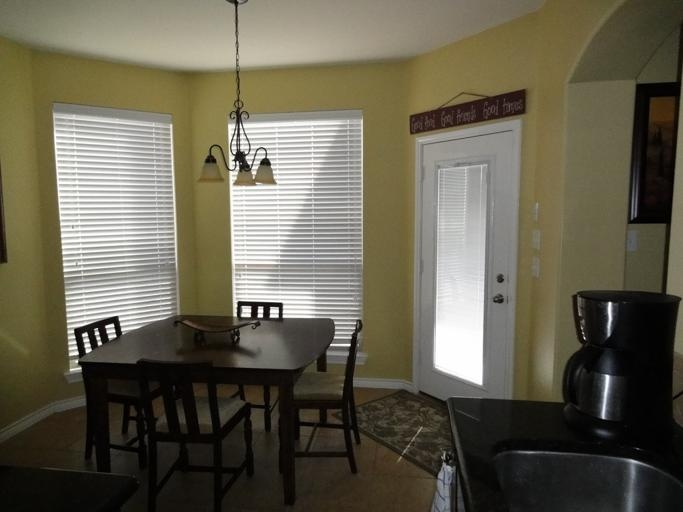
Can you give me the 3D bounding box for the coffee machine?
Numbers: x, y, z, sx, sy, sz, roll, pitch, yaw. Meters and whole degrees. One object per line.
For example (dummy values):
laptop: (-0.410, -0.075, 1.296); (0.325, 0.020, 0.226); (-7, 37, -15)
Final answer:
coffee machine: (1.157, 0.453, 2.267); (0.427, 0.565, 0.278); (5, 14, 24)
